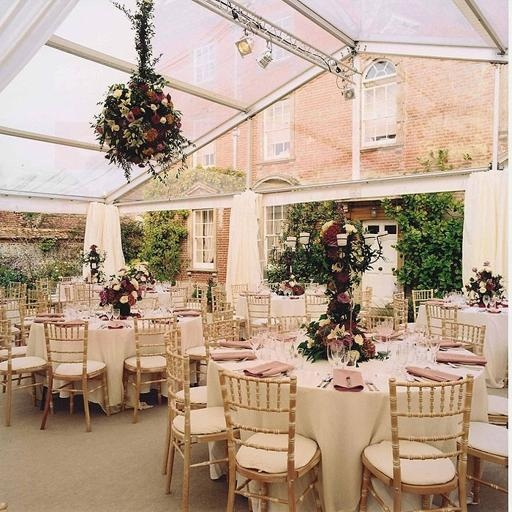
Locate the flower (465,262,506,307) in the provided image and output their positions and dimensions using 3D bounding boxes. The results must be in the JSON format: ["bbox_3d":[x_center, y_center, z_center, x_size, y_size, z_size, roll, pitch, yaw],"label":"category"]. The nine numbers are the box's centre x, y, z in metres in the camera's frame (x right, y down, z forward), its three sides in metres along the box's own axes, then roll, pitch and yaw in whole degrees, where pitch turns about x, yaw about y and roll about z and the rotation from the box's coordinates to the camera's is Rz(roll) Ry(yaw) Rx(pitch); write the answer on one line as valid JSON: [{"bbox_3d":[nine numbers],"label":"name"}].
[{"bbox_3d":[3.007,0.390,7.069,0.573,0.707,0.586,0,3,39],"label":"flower"}]

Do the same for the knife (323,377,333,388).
[{"bbox_3d":[0.477,0.861,3.492,0.027,0.025,0.169,-8,-2,12],"label":"knife"}]

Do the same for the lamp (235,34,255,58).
[{"bbox_3d":[-0.115,-2.639,6.553,0.272,0.284,0.316,7,13,24],"label":"lamp"}]

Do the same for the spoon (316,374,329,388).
[{"bbox_3d":[0.464,0.849,3.505,0.032,0.039,0.239,-1,0,14],"label":"spoon"}]

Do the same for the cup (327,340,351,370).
[{"bbox_3d":[0.601,0.729,3.785,0.165,0.237,0.173,2,-7,0],"label":"cup"}]

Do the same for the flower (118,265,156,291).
[{"bbox_3d":[-1.607,0.308,6.929,0.441,0.292,0.465,1,0,9],"label":"flower"}]
